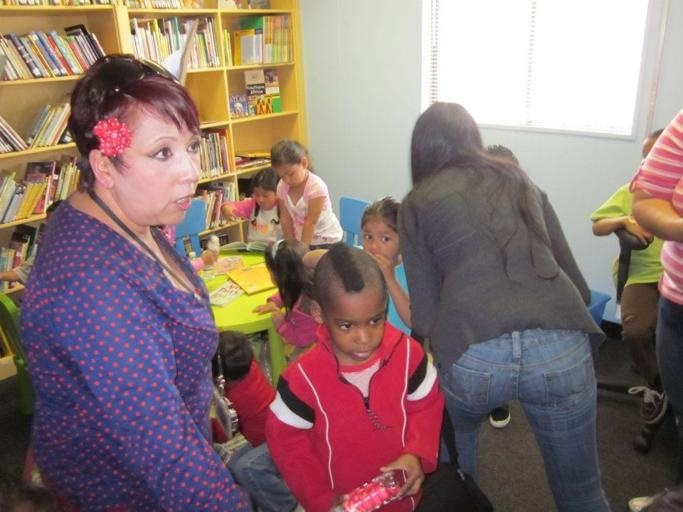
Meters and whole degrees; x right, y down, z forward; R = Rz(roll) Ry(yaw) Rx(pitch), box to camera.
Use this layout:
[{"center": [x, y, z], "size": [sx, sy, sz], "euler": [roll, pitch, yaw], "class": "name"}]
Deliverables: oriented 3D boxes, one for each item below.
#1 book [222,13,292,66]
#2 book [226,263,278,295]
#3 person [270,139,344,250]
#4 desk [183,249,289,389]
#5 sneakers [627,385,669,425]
[{"center": [-0.782, -1.806, 4.432], "size": [0.481, 0.180, 0.475], "euler": [5, 16, 30], "class": "book"}, {"center": [-0.487, 0.122, 2.812], "size": [0.175, 0.022, 0.188], "euler": [-17, 37, -29], "class": "book"}, {"center": [-0.244, -0.407, 3.445], "size": [0.445, 0.757, 0.495], "euler": [-6, 26, 0], "class": "person"}, {"center": [-0.498, 0.230, 2.705], "size": [0.606, 0.489, 0.617], "euler": [-3, 23, -1], "class": "desk"}, {"center": [1.619, 0.745, 2.682], "size": [0.265, 0.116, 0.095], "euler": [-41, 13, -30], "class": "sneakers"}]
